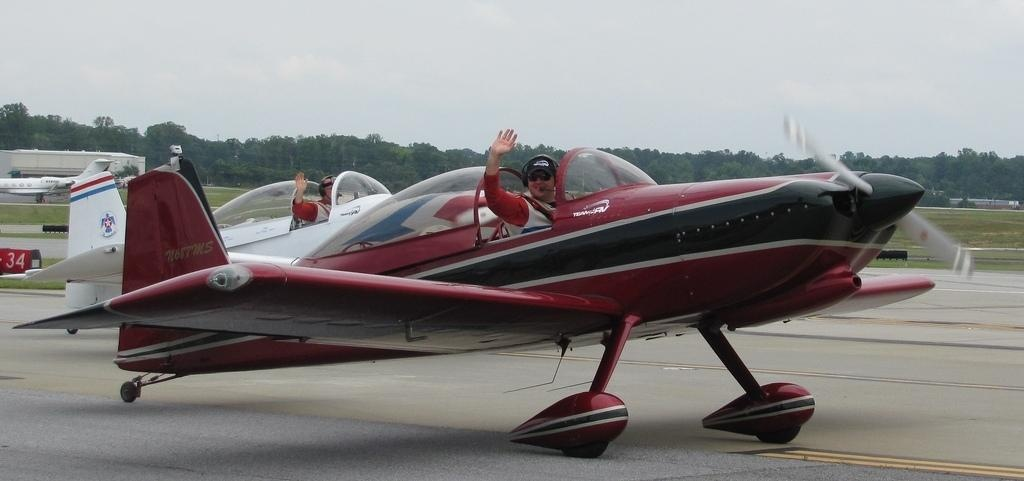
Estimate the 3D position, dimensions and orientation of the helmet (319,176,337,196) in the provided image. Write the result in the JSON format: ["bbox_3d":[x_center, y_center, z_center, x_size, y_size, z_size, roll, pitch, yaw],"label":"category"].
[{"bbox_3d":[-4.086,-1.256,20.389,0.568,0.388,0.361,9,16,-11],"label":"helmet"}]

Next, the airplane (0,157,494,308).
[{"bbox_3d":[-6.685,-0.333,19.770,6.176,1.445,5.786,-9,7,-12],"label":"airplane"}]
